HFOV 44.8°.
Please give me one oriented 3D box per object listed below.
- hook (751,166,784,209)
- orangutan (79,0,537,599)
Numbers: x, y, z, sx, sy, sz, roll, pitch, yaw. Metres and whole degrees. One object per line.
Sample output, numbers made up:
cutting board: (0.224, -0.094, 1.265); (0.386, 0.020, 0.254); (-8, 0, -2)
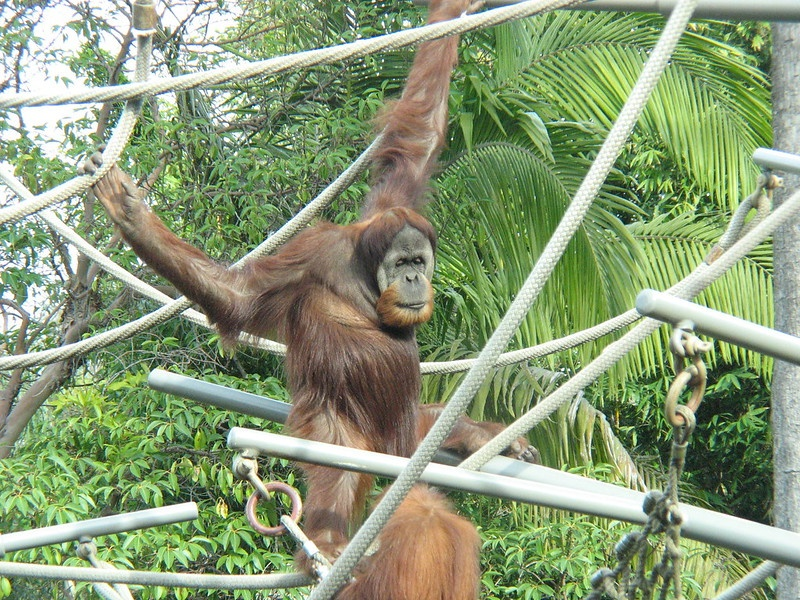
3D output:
hook: (1.355, -0.418, 3.588); (0.123, 0.220, 0.052); (25, 48, 39)
orangutan: (-0.173, -0.121, 4.234); (1.452, 2.641, 1.026); (4, -5, 10)
